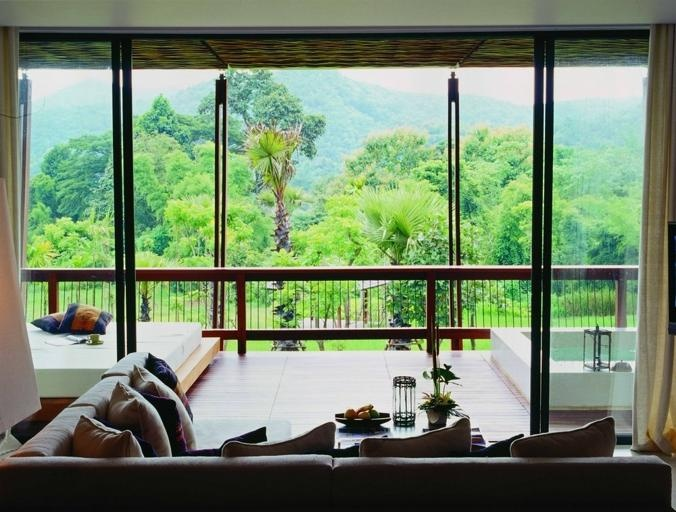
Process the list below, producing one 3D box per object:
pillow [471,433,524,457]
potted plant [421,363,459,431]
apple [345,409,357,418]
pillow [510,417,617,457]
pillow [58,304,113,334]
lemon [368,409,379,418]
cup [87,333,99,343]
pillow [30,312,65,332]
[{"bbox_3d":[0.778,0.947,3.348,0.156,0.043,0.141,-19,-1,-22],"label":"pillow"},{"bbox_3d":[0.654,0.875,4.281,0.270,0.327,0.218,-4,4,-5],"label":"potted plant"},{"bbox_3d":[0.085,1.054,4.558,0.049,0.048,0.063,3,5,4],"label":"apple"},{"bbox_3d":[1.127,0.898,3.295,0.294,0.088,0.290,-13,-8,11],"label":"pillow"},{"bbox_3d":[-1.901,0.486,5.176,0.296,0.264,0.087,17,14,2],"label":"pillow"},{"bbox_3d":[0.237,1.051,4.533,0.053,0.039,0.039,5,-8,5],"label":"lemon"},{"bbox_3d":[-1.861,0.624,5.179,0.085,0.056,0.060,-2,1,2],"label":"cup"},{"bbox_3d":[-2.184,0.505,5.152,0.171,0.087,0.176,1,-8,21],"label":"pillow"}]
